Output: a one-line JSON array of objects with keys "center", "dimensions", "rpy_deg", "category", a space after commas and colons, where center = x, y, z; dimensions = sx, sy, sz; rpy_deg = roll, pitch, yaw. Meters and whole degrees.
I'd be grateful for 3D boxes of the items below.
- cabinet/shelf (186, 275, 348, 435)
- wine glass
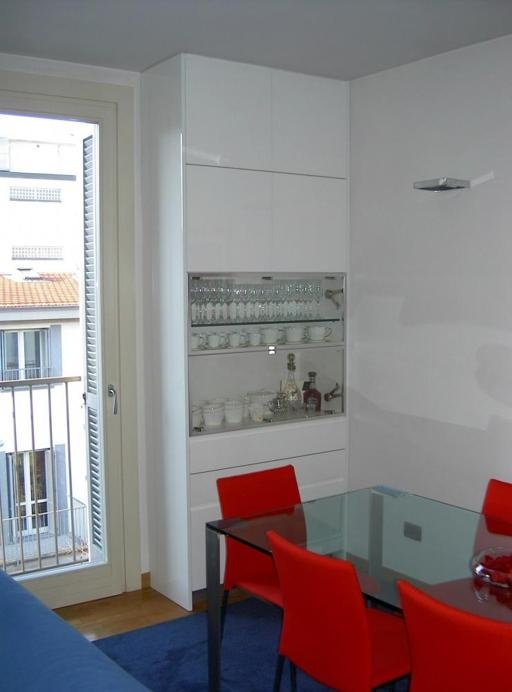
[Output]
[{"center": [0.021, 0.019, 3.422], "dimensions": [0.985, 0.861, 0.349], "rpy_deg": [-3, 6, -23], "category": "cabinet/shelf"}, {"center": [0.009, -0.248, 3.158], "dimensions": [0.894, 0.250, 0.097], "rpy_deg": [-4, 0, -36], "category": "wine glass"}]
